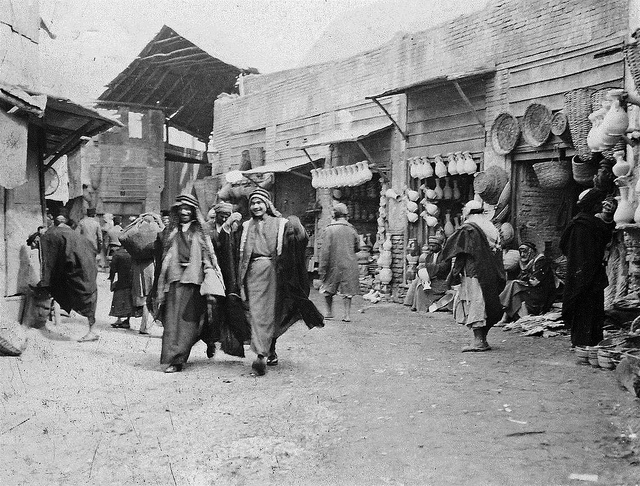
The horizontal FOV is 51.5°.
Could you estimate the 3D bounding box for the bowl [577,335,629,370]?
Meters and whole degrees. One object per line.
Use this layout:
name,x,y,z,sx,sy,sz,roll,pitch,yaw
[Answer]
bowl,3.295,1.295,7.710,0.408,0.141,0.430,-1,-1,0

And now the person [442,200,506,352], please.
person,2.043,0.453,8.817,0.791,1.961,0.606,2,8,19

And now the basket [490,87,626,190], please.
basket,3.820,-1.938,11.225,1.514,1.122,0.620,0,10,44

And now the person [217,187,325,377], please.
person,-0.561,0.414,7.922,0.878,2.074,0.760,-5,9,-31

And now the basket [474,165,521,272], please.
basket,3.281,-0.527,12.089,0.444,1.794,1.263,0,-11,-24

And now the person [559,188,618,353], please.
person,3.217,0.515,8.092,0.571,1.703,0.573,3,9,22
